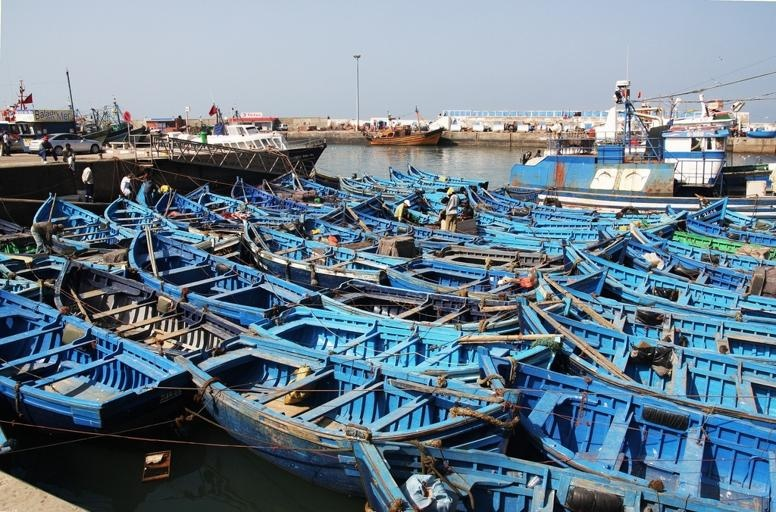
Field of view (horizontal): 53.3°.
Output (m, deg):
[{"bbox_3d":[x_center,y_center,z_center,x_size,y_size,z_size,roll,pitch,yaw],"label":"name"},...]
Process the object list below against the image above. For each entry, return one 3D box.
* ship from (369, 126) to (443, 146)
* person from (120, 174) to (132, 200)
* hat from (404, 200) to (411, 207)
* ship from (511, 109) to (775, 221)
[{"bbox_3d":[1.899,-13.222,85.457,3.602,2.056,8.860,-11,16,-41],"label":"ship"},{"bbox_3d":[-10.818,-2.832,32.000,0.541,0.749,1.579,2,-8,-17],"label":"person"},{"bbox_3d":[0.766,-2.138,30.737,0.270,0.125,0.388,34,29,10],"label":"hat"},{"bbox_3d":[10.910,-3.253,33.051,12.256,5.407,4.277,1,20,19],"label":"ship"}]
